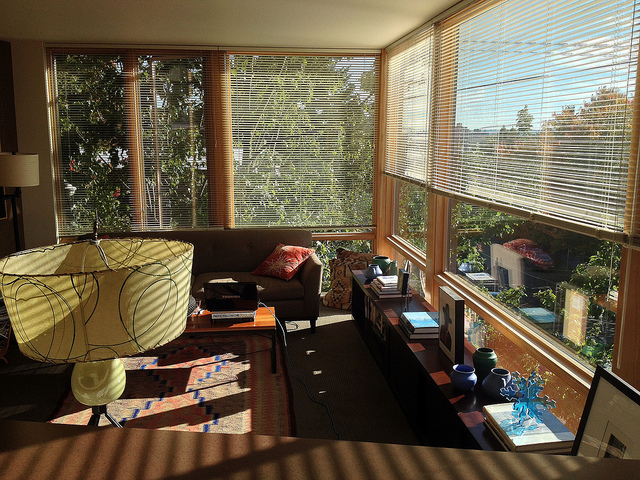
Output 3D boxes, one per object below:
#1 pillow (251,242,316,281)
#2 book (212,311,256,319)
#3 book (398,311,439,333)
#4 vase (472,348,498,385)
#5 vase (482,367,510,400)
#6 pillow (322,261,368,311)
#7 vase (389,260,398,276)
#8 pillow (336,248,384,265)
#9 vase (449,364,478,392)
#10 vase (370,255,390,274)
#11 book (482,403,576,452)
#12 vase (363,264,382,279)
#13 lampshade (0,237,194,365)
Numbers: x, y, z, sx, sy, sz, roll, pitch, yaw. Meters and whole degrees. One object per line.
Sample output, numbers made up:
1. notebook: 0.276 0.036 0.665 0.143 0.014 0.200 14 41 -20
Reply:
1. pillow: -0.462 0.222 5.039 0.438 0.140 0.467 6 48 40
2. book: -0.749 0.653 3.912 0.358 0.035 0.049 0 12 -4
3. book: 0.743 0.591 3.323 0.277 0.080 0.364 1 13 3
4. vase: 0.974 0.753 2.696 0.162 0.246 0.166 0 -3 9
5. vase: 0.982 0.807 2.547 0.133 0.114 0.162 1 0 0
6. pillow: 0.244 0.530 5.403 0.507 0.551 0.161 3 4 9
7. vase: 0.745 0.270 4.431 0.113 0.130 0.114 0 -2 -10
8. pillow: 0.403 0.188 5.383 0.537 0.110 0.259 8 14 29
9. vase: 0.838 0.789 2.621 0.132 0.107 0.217 6 14 25
10. vase: 0.620 0.240 4.610 0.159 0.167 0.172 1 -1 -1
11. book: 0.997 0.901 2.174 0.303 0.077 0.332 -5 12 -3
12. vase: 0.522 0.313 4.514 0.130 0.125 0.132 6 -1 -12
13. lampshade: -0.630 0.163 1.351 0.450 0.276 0.511 8 15 32
